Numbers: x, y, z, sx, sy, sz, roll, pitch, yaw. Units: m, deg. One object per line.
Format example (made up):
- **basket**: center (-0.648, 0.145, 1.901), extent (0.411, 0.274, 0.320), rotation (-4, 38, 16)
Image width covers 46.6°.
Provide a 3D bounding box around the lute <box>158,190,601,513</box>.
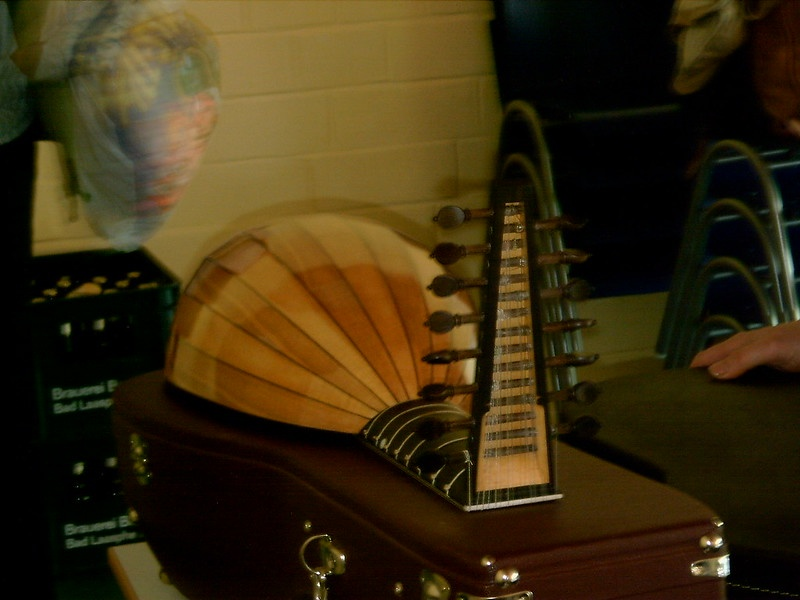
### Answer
- **lute**: center (-0.010, 0.012, 0.430), extent (0.138, 0.061, 0.193), rotation (-4, 17, -28)
